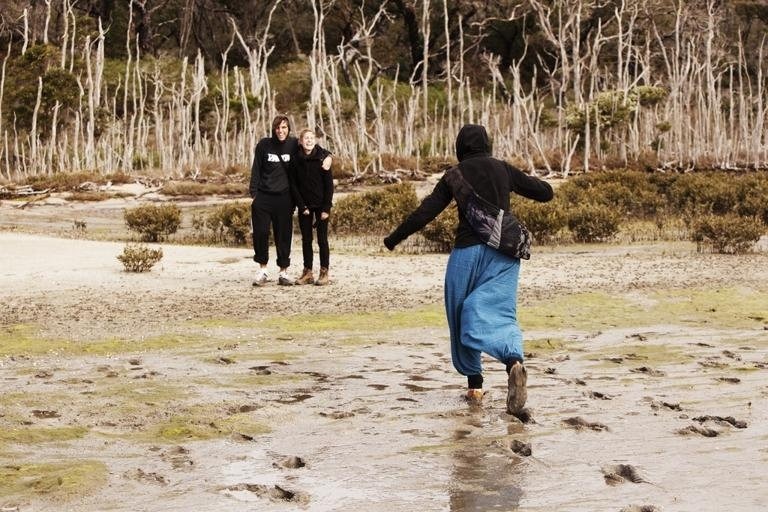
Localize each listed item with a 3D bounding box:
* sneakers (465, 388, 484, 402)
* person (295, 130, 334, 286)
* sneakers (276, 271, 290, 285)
[{"bbox_3d":[1.354,2.086,16.964,0.152,0.122,0.264,1,9,4],"label":"sneakers"},{"bbox_3d":[-1.372,-0.937,22.131,0.772,3.009,0.651,2,4,45],"label":"person"},{"bbox_3d":[-1.972,0.447,22.338,0.167,0.156,0.353,1,10,-4],"label":"sneakers"}]
